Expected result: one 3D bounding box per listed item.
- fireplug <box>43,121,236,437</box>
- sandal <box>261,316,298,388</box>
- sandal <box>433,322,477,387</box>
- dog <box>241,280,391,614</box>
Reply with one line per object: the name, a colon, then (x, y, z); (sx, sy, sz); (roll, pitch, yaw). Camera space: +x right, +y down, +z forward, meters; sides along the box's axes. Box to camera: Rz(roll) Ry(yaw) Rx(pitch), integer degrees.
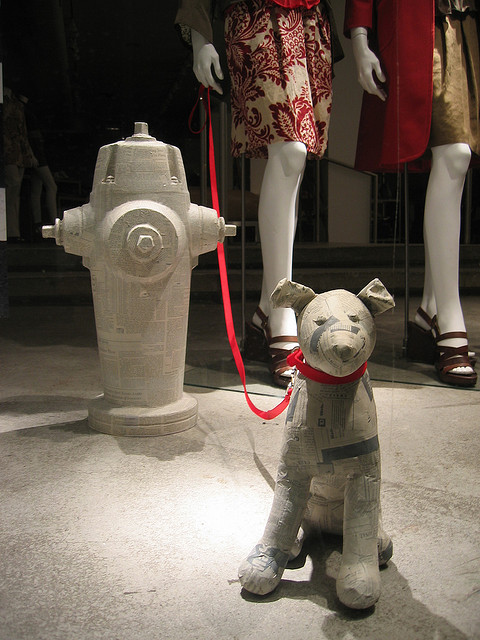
fireplug: (-0.213, -0.068, 1.307); (0.436, 0.653, 0.180); (-4, 9, -16)
sandal: (0.107, 0.089, 1.743); (0.080, 0.050, 0.202); (-11, 35, -16)
sandal: (0.675, 0.103, 1.790); (0.106, 0.158, 0.255); (0, 8, 10)
dog: (0.101, 0.136, 0.757); (0.185, 0.380, 0.269); (1, 9, 12)
